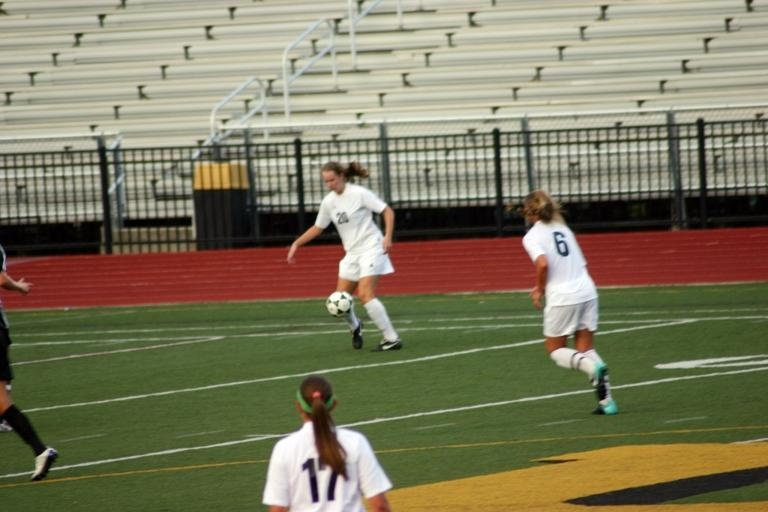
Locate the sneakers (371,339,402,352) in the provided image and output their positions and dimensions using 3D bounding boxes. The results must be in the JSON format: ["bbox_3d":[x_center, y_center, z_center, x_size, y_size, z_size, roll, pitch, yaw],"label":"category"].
[{"bbox_3d":[-0.010,1.746,30.073,0.657,0.194,0.193,-1,3,5],"label":"sneakers"}]

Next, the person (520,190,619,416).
[{"bbox_3d":[3.215,0.802,27.036,1.339,3.153,0.613,-5,2,3],"label":"person"}]

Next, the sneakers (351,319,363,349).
[{"bbox_3d":[-0.516,1.568,30.250,0.203,0.482,0.259,0,1,42],"label":"sneakers"}]

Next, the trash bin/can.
[{"bbox_3d":[-4.122,-1.297,38.622,1.441,1.956,0.907,-5,2,-6],"label":"trash bin/can"}]

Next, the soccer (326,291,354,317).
[{"bbox_3d":[-0.911,0.930,30.119,0.615,0.469,0.508,-5,-23,7],"label":"soccer"}]
